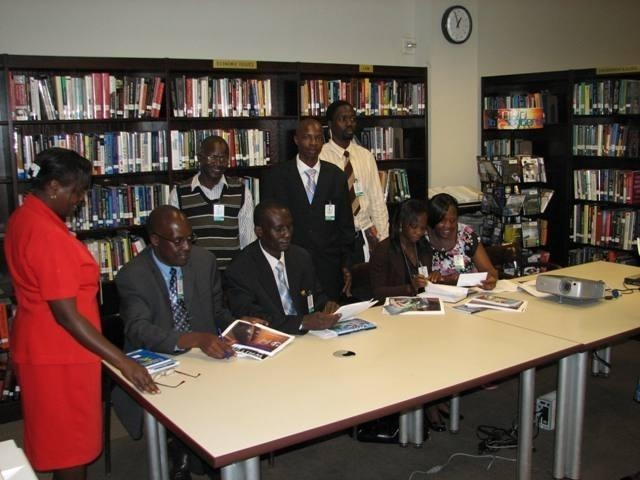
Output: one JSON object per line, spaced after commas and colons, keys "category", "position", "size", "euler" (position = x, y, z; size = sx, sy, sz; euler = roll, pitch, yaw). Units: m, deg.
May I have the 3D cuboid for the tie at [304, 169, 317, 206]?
{"category": "tie", "position": [-0.066, -0.434, 4.032], "size": [0.094, 0.269, 0.088], "euler": [-3, 10, -5]}

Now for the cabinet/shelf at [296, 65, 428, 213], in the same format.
{"category": "cabinet/shelf", "position": [0.405, -1.071, 5.051], "size": [1.792, 1.737, 0.466], "euler": [-2, 4, -32]}

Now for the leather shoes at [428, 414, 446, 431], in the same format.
{"category": "leather shoes", "position": [0.862, 1.320, 3.669], "size": [0.055, 0.070, 0.166], "euler": [-3, 1, -18]}

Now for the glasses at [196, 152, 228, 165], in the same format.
{"category": "glasses", "position": [-0.789, -0.596, 3.757], "size": [0.209, 0.100, 0.125], "euler": [-4, 11, -10]}

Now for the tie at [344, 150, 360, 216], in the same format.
{"category": "tie", "position": [0.290, -0.524, 4.585], "size": [0.137, 0.593, 0.103], "euler": [-12, 14, -43]}

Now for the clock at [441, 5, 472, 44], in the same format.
{"category": "clock", "position": [1.672, -2.609, 6.098], "size": [0.478, 0.445, 0.094], "euler": [-9, 12, -34]}
